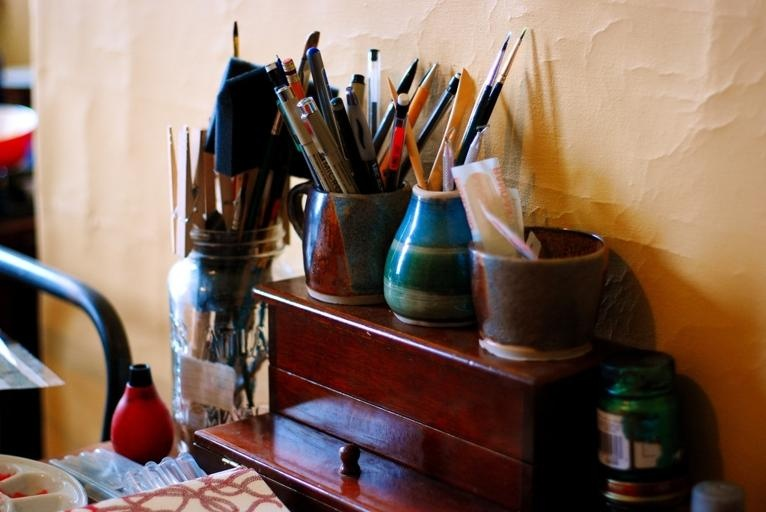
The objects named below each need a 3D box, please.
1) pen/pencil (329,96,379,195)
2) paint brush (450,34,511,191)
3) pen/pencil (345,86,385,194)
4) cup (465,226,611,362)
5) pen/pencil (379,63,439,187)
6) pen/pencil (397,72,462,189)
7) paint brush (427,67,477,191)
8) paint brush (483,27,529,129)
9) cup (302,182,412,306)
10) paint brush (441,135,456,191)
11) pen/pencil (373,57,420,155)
[{"bbox_3d":[-0.020,-0.115,0.785,0.028,0.158,0.023,-3,30,35],"label":"pen/pencil"},{"bbox_3d":[0.114,-0.162,0.765,0.023,0.210,0.023,20,5,-1],"label":"paint brush"},{"bbox_3d":[-0.010,-0.131,0.777,0.022,0.161,0.023,-12,20,13],"label":"pen/pencil"},{"bbox_3d":[0.168,0.038,0.724,0.148,0.116,0.144,-3,17,1],"label":"cup"},{"bbox_3d":[0.033,-0.155,0.806,0.024,0.175,0.029,17,14,-2],"label":"pen/pencil"},{"bbox_3d":[0.056,-0.151,0.788,0.019,0.176,0.018,25,12,-11],"label":"pen/pencil"},{"bbox_3d":[0.084,-0.160,0.771,0.031,0.222,0.010,28,-28,-22],"label":"paint brush"},{"bbox_3d":[0.146,-0.212,0.779,0.018,0.142,0.018,24,2,-11],"label":"paint brush"},{"bbox_3d":[-0.046,-0.024,0.842,0.168,0.132,0.132,13,17,30],"label":"cup"},{"bbox_3d":[0.072,-0.102,0.734,0.013,0.057,0.026,-1,13,6],"label":"paint brush"},{"bbox_3d":[0.016,-0.183,0.812,0.021,0.153,0.021,21,22,3],"label":"pen/pencil"}]
